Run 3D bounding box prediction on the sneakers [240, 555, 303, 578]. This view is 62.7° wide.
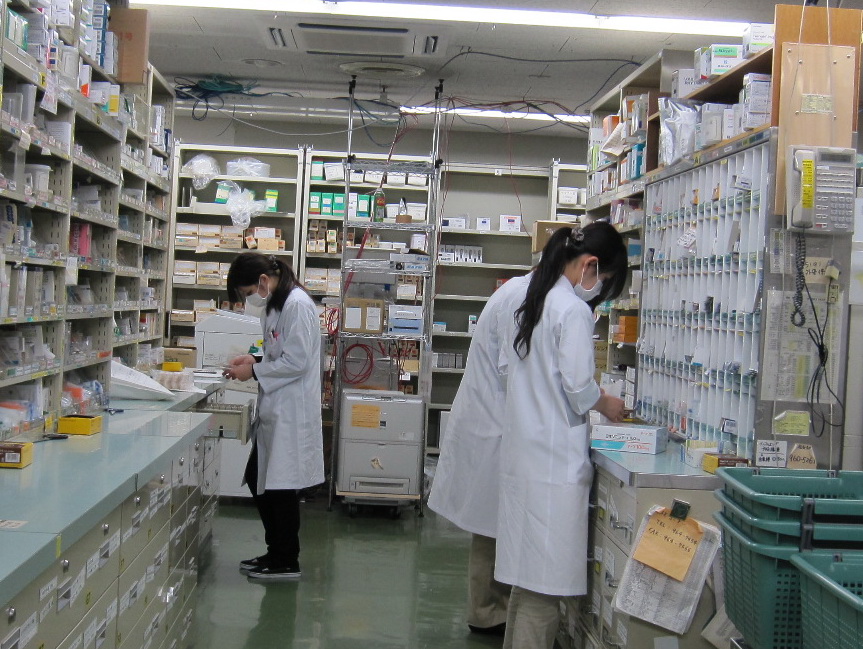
[{"bbox_3d":[-0.925,1.405,4.023,0.205,0.081,0.161,7,-16,2],"label":"sneakers"}]

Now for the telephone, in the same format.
[{"bbox_3d":[1.490,-0.517,2.733,0.262,0.323,0.092,3,4,-8],"label":"telephone"}]

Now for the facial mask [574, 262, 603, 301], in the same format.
[{"bbox_3d":[0.653,-0.170,2.924,0.074,0.139,0.109,15,-9,-30],"label":"facial mask"}]

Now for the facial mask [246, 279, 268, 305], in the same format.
[{"bbox_3d":[-0.951,-0.162,3.910,0.069,0.128,0.115,19,-7,-15],"label":"facial mask"}]

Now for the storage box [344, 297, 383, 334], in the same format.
[{"bbox_3d":[-0.493,-0.057,5.136,0.353,0.295,0.201,2,-7,-6],"label":"storage box"}]
